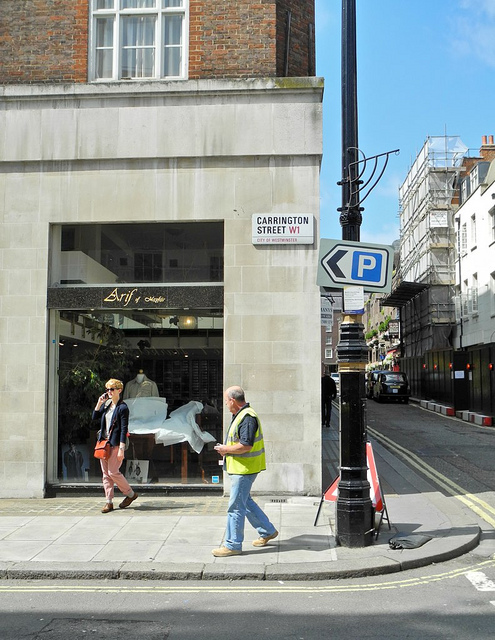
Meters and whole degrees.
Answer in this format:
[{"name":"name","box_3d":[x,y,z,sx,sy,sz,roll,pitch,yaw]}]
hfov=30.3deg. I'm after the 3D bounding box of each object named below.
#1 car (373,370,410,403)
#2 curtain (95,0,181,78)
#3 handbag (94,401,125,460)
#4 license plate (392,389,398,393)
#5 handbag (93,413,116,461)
[{"name":"car","box_3d":[6.279,2.978,40.535,1.066,1.379,1.944,0,-3,-23]},{"name":"curtain","box_3d":[-1.636,-4.182,13.739,0.958,1.326,0.053,0,-9,-1]},{"name":"handbag","box_3d":[-1.800,1.497,11.724,0.270,0.581,0.220,-1,-3,-9]},{"name":"license plate","box_3d":[6.391,3.089,39.759,0.168,0.213,0.105,1,-13,5]},{"name":"handbag","box_3d":[-1.816,1.518,11.740,0.254,0.573,0.285,-1,-3,0]}]
